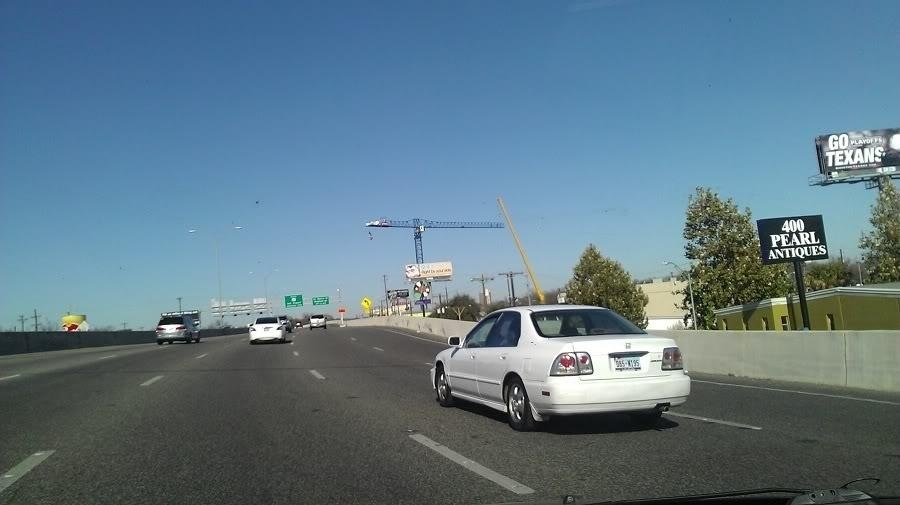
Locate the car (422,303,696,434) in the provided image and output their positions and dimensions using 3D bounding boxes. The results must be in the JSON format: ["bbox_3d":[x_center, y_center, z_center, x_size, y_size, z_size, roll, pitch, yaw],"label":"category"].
[{"bbox_3d":[2.180,2.708,13.969,3.622,2.267,7.313,0,-7,-22],"label":"car"}]
